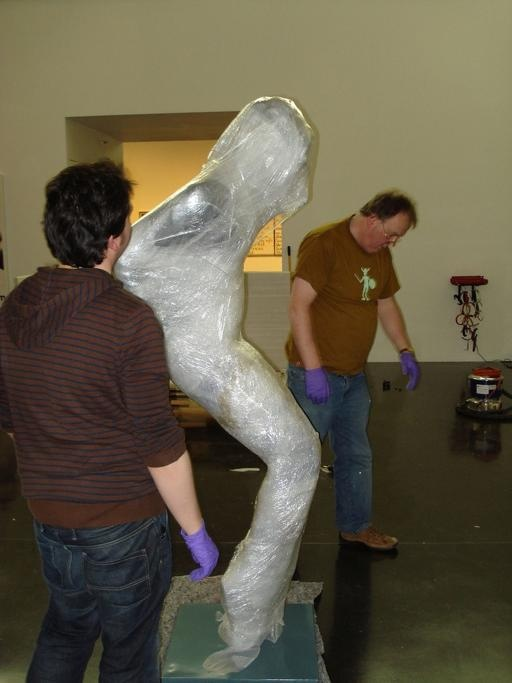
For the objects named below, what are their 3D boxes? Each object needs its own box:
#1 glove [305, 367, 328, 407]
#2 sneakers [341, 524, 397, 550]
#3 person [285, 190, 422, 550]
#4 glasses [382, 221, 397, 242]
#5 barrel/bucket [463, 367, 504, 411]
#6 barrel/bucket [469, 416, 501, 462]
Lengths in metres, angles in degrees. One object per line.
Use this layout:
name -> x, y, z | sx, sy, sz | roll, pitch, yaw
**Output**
glove -> 0.220, 0.163, 2.333 | 0.098, 0.115, 0.035 | -10, 31, 16
sneakers -> 0.486, 0.807, 2.709 | 0.247, 0.083, 0.083 | 2, 10, 18
person -> 0.371, 0.152, 2.539 | 0.537, 1.447, 0.357 | -3, 12, -12
glasses -> 0.479, -0.400, 2.349 | 0.058, 0.057, 0.034 | -3, -5, -19
barrel/bucket -> 1.664, 0.346, 4.825 | 0.369, 0.296, 0.321 | -1, 8, -5
barrel/bucket -> 1.468, 0.630, 4.129 | 0.166, 0.199, 0.251 | 3, 16, 9
